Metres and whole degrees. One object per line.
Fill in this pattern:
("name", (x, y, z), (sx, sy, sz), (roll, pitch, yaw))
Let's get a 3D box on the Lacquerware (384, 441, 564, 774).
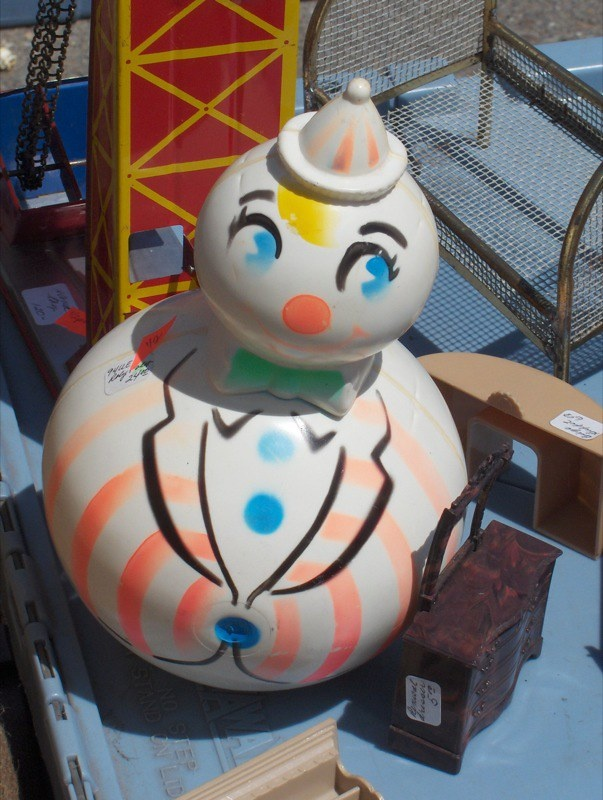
("Lacquerware", (0.480, 0.621, 2.444), (0.267, 0.792, 0.604), (20, 49, 25))
